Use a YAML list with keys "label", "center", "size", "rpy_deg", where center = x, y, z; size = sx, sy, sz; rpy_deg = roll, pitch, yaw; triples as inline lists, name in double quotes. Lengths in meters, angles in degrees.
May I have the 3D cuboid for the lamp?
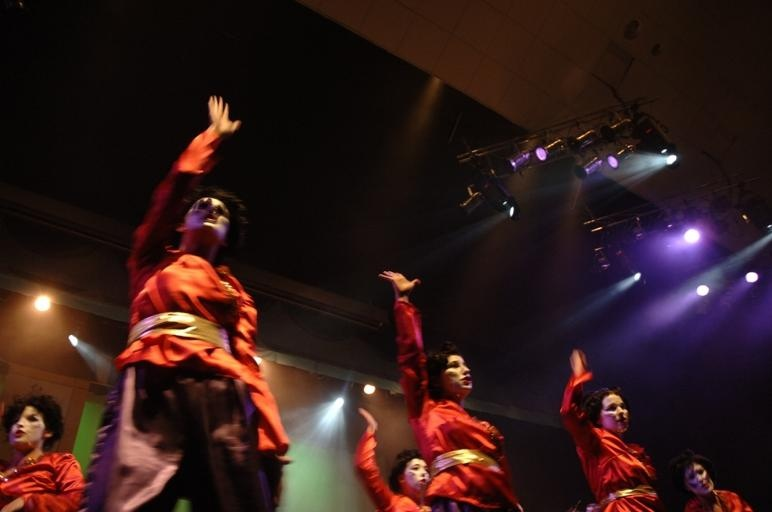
- label: "lamp"
  center: [2.684, -1.024, 6.874]
  size: [3.075, 0.861, 2.237]
  rpy_deg: [-24, -65, 7]
